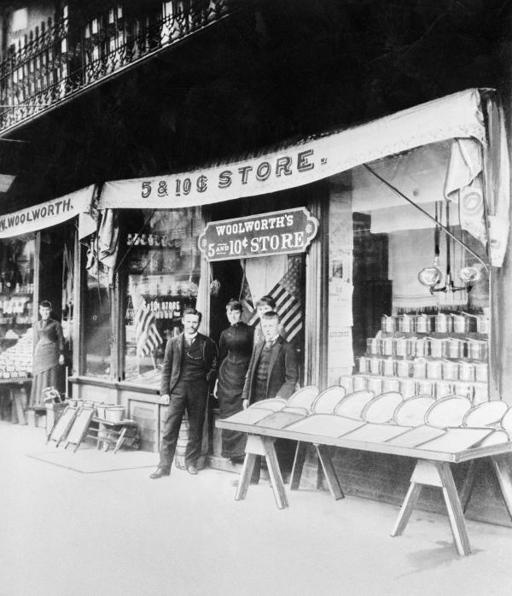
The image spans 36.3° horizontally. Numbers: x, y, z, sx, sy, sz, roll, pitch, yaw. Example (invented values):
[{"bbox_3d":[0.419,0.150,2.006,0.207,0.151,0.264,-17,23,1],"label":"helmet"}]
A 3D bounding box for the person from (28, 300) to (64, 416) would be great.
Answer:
[{"bbox_3d":[-2.900,0.737,10.902,0.446,1.711,0.484,9,34,-2],"label":"person"}]

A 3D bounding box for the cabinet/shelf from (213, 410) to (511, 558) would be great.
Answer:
[{"bbox_3d":[0.757,1.302,6.075,2.455,1.019,0.874,7,3,44],"label":"cabinet/shelf"}]

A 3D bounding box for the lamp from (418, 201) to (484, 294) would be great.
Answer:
[{"bbox_3d":[1.757,-0.442,7.067,0.412,0.830,0.781,3,2,-26],"label":"lamp"}]

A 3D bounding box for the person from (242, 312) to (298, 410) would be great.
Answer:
[{"bbox_3d":[0.147,0.620,7.511,0.257,0.860,0.646,2,2,-35],"label":"person"}]

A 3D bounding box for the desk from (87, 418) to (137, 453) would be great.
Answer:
[{"bbox_3d":[-1.640,1.580,9.003,0.593,0.335,0.399,7,3,39],"label":"desk"}]

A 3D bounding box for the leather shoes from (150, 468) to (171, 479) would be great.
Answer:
[{"bbox_3d":[-0.948,1.718,7.652,0.081,0.081,0.162,-9,-15,38],"label":"leather shoes"}]

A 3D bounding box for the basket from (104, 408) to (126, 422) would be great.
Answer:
[{"bbox_3d":[-1.596,1.333,8.963,0.144,0.114,0.145,0,2,-42],"label":"basket"}]

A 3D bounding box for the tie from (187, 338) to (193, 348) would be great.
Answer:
[{"bbox_3d":[-0.660,0.449,7.914,0.051,0.077,0.016,-6,-21,0],"label":"tie"}]

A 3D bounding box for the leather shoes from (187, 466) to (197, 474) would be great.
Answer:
[{"bbox_3d":[-0.629,1.725,7.801,0.042,0.070,0.136,1,-7,-26],"label":"leather shoes"}]
